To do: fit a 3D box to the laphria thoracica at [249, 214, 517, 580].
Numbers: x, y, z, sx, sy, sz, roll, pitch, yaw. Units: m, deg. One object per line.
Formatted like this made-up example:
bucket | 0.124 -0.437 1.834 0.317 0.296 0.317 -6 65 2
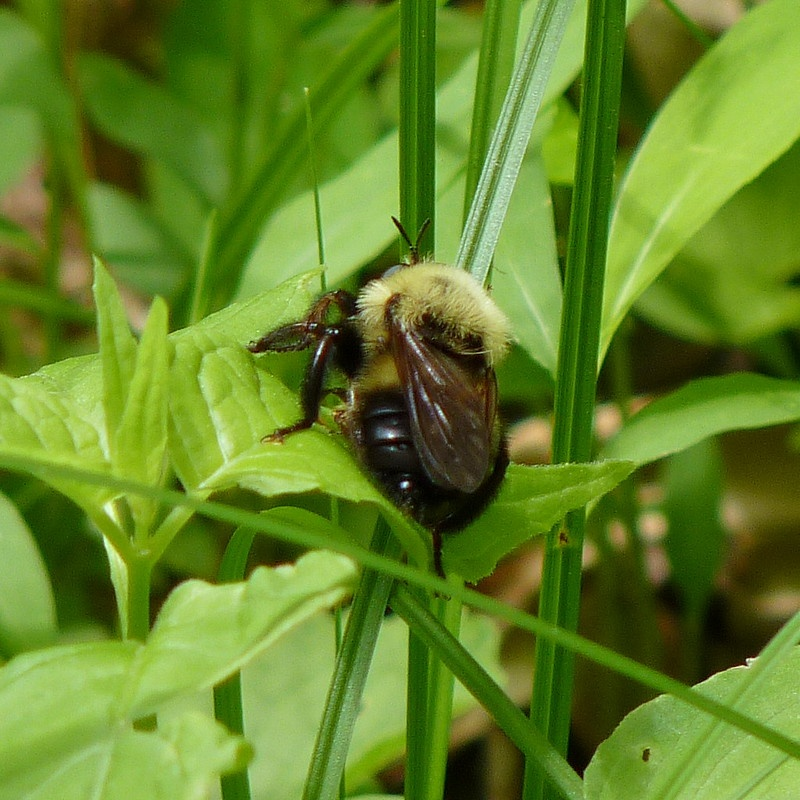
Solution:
laphria thoracica | 0.019 0.017 1.002 0.218 0.322 0.415 -2 -101 12
